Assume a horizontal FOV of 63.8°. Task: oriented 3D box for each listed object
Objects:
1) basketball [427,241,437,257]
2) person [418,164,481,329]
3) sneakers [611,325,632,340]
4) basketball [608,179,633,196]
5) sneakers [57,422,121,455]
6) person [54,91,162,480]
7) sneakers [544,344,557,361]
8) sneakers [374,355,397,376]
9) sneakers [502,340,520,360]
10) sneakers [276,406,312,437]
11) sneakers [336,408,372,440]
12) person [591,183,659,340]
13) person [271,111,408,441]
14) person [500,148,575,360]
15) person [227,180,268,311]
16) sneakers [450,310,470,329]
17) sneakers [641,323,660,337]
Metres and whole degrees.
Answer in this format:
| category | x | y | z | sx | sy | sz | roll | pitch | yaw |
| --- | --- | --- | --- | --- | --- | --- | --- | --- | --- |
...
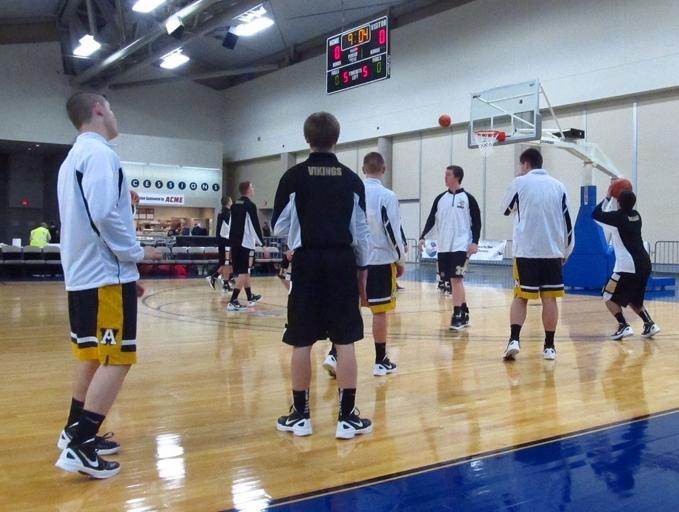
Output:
| category | x | y | z | sx | sy | sz | roll | pitch | yaw |
| --- | --- | --- | --- | --- | --- | --- | --- | --- | --- |
| basketball | 2.395 | -0.209 | 14.244 | 0.200 | 0.293 | 0.286 | -9 | -29 | -10 |
| person | 1.288 | -0.139 | 6.391 | 0.644 | 1.851 | 1.239 | 1 | 4 | 11 |
| sneakers | 2.738 | 0.740 | 5.326 | 0.094 | 0.137 | 0.278 | -2 | -1 | 6 |
| basketball | 2.790 | -0.680 | 5.442 | 0.148 | 0.141 | 0.238 | 6 | 9 | 20 |
| sneakers | -1.288 | 0.942 | 2.817 | 0.092 | 0.136 | 0.280 | 22 | -6 | 45 |
| person | -1.253 | 0.100 | 2.842 | 0.502 | 1.952 | 0.530 | 4 | 6 | 40 |
| sneakers | 1.775 | 0.817 | 4.629 | 0.076 | 0.098 | 0.227 | -2 | -11 | 11 |
| sneakers | 0.352 | 0.858 | 4.285 | 0.081 | 0.140 | 0.237 | 2 | 2 | 37 |
| sneakers | 1.463 | 0.792 | 4.672 | 0.127 | 0.175 | 0.250 | 2 | 5 | 16 |
| sneakers | -0.251 | 0.960 | 3.234 | 0.102 | 0.187 | 0.244 | 4 | -1 | -41 |
| sneakers | 0.078 | 0.968 | 3.206 | 0.256 | 0.194 | 0.098 | 0 | 0 | -39 |
| person | 2.912 | 0.019 | 5.587 | 0.635 | 1.585 | 0.963 | 3 | 5 | 30 |
| person | -0.099 | 0.088 | 3.169 | 0.568 | 1.856 | 0.373 | 0 | 4 | -8 |
| person | 1.710 | -0.039 | 4.744 | 0.554 | 1.786 | 0.384 | 2 | 5 | 25 |
| person | -1.321 | -0.150 | 7.710 | 0.500 | 1.781 | 1.173 | 0 | 4 | -9 |
| sneakers | 1.325 | 0.710 | 6.022 | 0.115 | 0.172 | 0.352 | -3 | -5 | 25 |
| sneakers | 3.053 | 0.729 | 5.400 | 0.078 | 0.113 | 0.230 | -4 | 1 | 0 |
